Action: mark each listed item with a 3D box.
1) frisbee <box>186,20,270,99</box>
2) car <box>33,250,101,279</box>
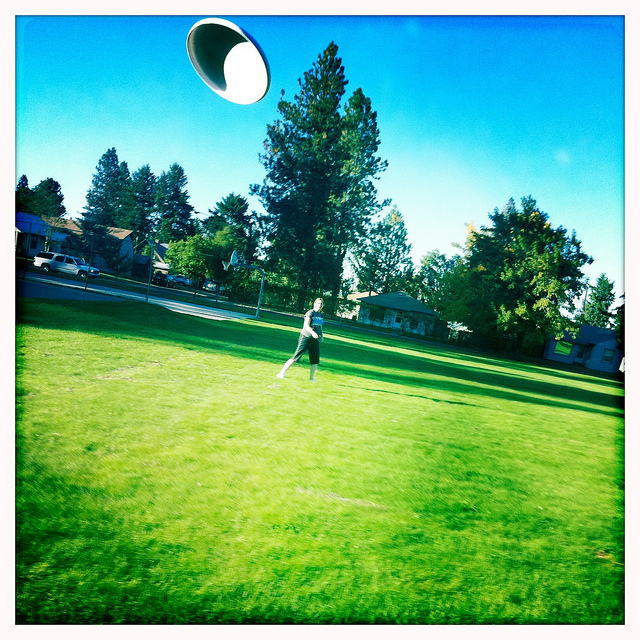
[{"bbox_3d":[-0.554,-1.567,3.138,0.406,0.103,0.431,6,-46,35],"label":"frisbee"},{"bbox_3d":[-15.055,-3.229,29.881,3.296,1.096,1.014,12,7,16],"label":"car"}]
